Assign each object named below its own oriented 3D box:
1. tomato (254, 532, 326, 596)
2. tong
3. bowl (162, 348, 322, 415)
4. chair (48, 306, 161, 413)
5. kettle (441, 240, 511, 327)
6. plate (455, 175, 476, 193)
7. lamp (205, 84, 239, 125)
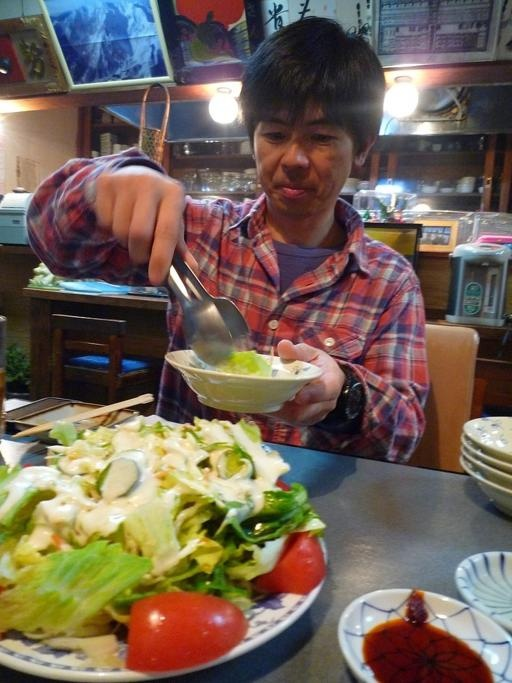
[{"bbox_3d":[0.041,0.244,0.565,0.060,0.022,0.057,-20,10,19],"label":"tomato"},{"bbox_3d":[-0.108,-0.066,0.930,0.114,0.210,0.092,-26,-7,-42],"label":"tong"},{"bbox_3d":[-0.024,0.071,0.912,0.282,0.079,0.263,7,9,-1],"label":"bowl"},{"bbox_3d":[-0.892,0.185,3.130,0.579,0.636,0.491,5,7,6],"label":"chair"},{"bbox_3d":[1.126,-0.280,2.575,0.293,0.411,0.177,9,11,16],"label":"kettle"},{"bbox_3d":[2.085,-1.558,5.115,0.178,0.163,0.191,7,6,19],"label":"plate"},{"bbox_3d":[-0.198,-1.535,3.318,0.222,0.263,0.202,7,-31,7],"label":"lamp"}]
